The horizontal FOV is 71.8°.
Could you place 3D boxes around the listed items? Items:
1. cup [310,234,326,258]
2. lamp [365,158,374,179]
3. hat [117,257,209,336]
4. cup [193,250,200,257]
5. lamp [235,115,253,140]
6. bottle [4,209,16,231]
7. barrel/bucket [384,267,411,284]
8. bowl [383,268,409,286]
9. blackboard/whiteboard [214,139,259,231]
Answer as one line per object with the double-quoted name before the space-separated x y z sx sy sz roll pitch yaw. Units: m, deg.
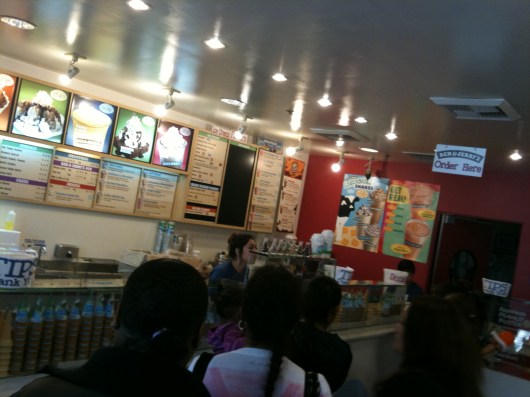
"cup" 0.623 0.558 4.414 0.259 0.300 0.264 -1 -4 0
"lamp" 1.852 -0.517 6.570 0.132 0.383 0.482 8 -4 16
"hat" -0.299 0.279 1.190 0.236 0.240 0.266 13 3 -9
"cup" -1.052 0.847 5.622 0.121 0.105 0.106 1 29 -4
"lamp" -0.333 -1.050 5.435 0.179 0.406 0.178 31 17 0
"bottle" -2.950 0.254 4.259 0.109 0.226 0.222 12 -6 -32
"barrel/bucket" 1.508 0.896 4.286 0.301 0.155 0.232 -3 -8 31
"bowl" 1.459 0.898 4.222 0.301 0.162 0.235 -5 -11 33
"blackboard/whiteboard" -0.458 -0.193 6.156 0.188 0.895 0.665 5 -6 38
